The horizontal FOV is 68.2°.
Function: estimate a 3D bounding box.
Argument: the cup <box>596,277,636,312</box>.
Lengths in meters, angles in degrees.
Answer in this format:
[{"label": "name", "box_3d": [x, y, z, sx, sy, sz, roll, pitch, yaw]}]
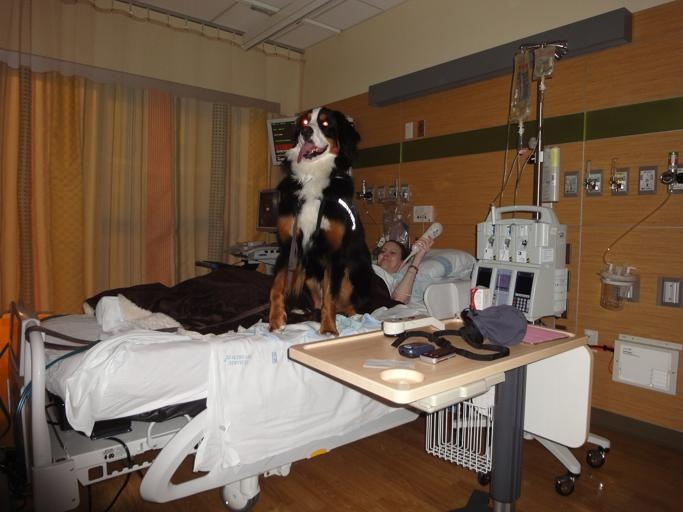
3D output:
[{"label": "cup", "box_3d": [1.882, 0.284, 3.476, 0.241, 0.241, 0.161, 2, 3, 27]}]

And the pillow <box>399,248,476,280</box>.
[{"label": "pillow", "box_3d": [0.807, 0.071, 3.856, 0.324, 0.092, 0.333, 1, 24, 18]}]

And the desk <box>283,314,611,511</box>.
[{"label": "desk", "box_3d": [0.445, 0.495, 2.411, 1.075, 0.783, 1.056, -7, 10, -37]}]

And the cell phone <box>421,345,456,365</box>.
[{"label": "cell phone", "box_3d": [0.414, 0.422, 2.157, 0.109, 0.023, 0.062, -6, 11, -41]}]

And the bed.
[{"label": "bed", "box_3d": [-0.688, 0.772, 2.650, 1.542, 0.581, 0.912, -3, 8, -29]}]

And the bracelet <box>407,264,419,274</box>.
[{"label": "bracelet", "box_3d": [0.525, 0.104, 3.723, 0.059, 0.058, 0.060, 7, -15, 32]}]

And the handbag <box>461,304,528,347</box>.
[{"label": "handbag", "box_3d": [0.700, 0.314, 2.293, 0.231, 0.074, 0.180, 5, 51, 5]}]
